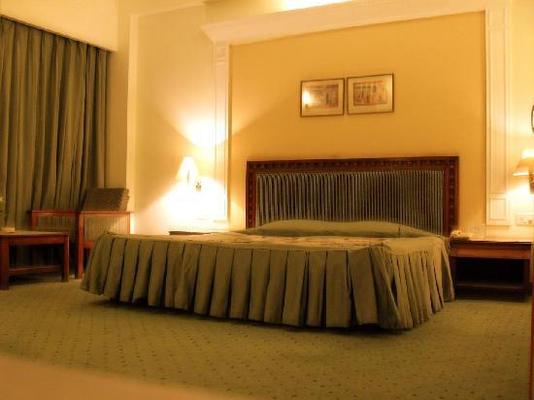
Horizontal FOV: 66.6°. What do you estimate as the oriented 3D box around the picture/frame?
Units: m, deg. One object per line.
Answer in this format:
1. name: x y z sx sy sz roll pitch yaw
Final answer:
1. picture/frame: 0.981 -1.302 5.044 1.124 0.398 0.027 0 0 18
